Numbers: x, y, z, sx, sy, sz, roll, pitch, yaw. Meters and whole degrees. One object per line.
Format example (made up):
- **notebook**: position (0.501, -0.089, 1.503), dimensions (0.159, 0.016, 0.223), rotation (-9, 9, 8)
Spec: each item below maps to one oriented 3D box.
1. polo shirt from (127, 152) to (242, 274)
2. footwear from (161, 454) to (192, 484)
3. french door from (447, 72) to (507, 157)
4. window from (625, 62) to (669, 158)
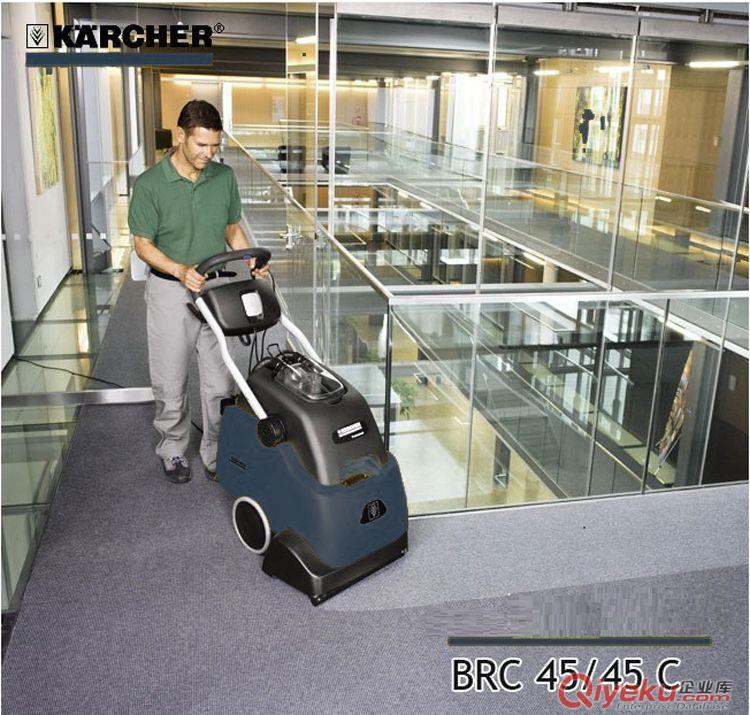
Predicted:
- **polo shirt**: position (-0.924, -0.741, 3.000), dimensions (0.580, 0.471, 0.285), rotation (-18, 40, -34)
- **footwear**: position (-1.034, 0.571, 3.148), dimensions (0.083, 0.070, 0.182), rotation (-9, 29, -32)
- **french door**: position (1.297, -3.366, 8.541), dimensions (0.854, 0.918, 0.680), rotation (5, 13, 1)
- **window**: position (3.815, -3.328, 8.420), dimensions (0.126, 1.287, 0.575), rotation (-19, 26, -28)
